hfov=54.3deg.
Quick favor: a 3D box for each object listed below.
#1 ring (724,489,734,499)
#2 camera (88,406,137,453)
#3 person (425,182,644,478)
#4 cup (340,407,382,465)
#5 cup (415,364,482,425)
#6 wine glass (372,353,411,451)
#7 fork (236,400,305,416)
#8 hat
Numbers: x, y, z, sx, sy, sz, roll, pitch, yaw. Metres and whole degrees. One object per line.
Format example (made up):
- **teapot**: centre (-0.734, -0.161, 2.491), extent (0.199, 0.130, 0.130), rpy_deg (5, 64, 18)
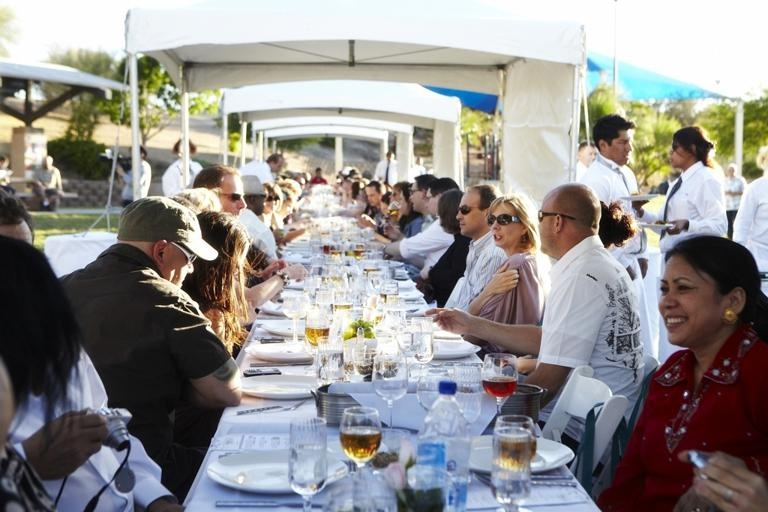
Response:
- **ring**: centre (1.310, 0.906, 2.866), extent (0.032, 0.035, 0.033), rpy_deg (-1, 1, 0)
- **camera**: centre (-1.062, 0.651, 2.930), extent (0.151, 0.157, 0.148), rpy_deg (4, 20, -15)
- **person**: centre (0.991, 0.342, 5.015), extent (1.400, 2.385, 1.188), rpy_deg (2, -3, 12)
- **cup**: centre (-0.087, 0.650, 2.729), extent (0.139, 0.200, 0.084), rpy_deg (2, 3, -22)
- **cup**: centre (0.272, 0.568, 3.136), extent (0.217, 0.232, 0.232), rpy_deg (1, -3, 0)
- **wine glass**: centre (0.019, 0.580, 3.241), extent (0.146, 0.304, 0.229), rpy_deg (3, 3, -1)
- **fork**: centre (-0.539, 0.720, 3.561), extent (0.283, 0.044, 0.040), rpy_deg (0, 17, -15)
- **hat**: centre (-1.073, -0.143, 3.747), extent (0.401, 0.214, 0.273), rpy_deg (9, 4, -25)
